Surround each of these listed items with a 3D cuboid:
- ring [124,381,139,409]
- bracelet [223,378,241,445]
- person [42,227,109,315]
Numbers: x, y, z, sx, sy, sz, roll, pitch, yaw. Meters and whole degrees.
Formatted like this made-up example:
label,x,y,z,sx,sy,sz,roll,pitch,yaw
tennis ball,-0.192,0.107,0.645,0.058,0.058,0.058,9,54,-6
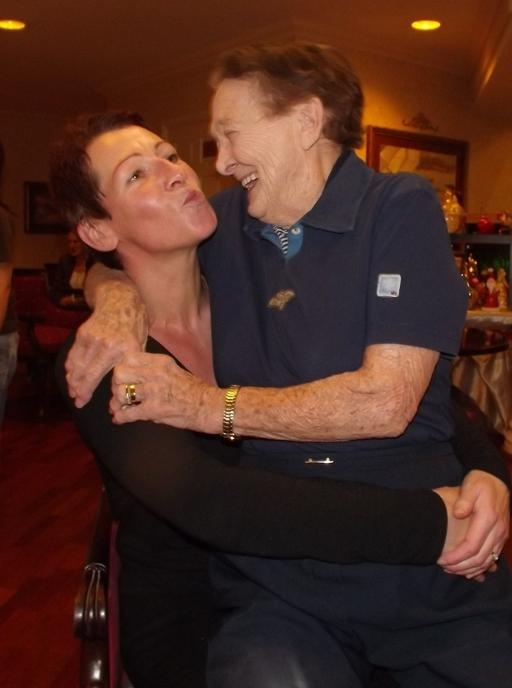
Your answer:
label,x,y,z,sx,sy,sz,roll,pitch,yaw
ring,-0.211,0.085,1.020,0.014,0.033,0.031,-15,7,-33
bracelet,-0.045,0.130,1.101,0.031,0.100,0.050,0,9,-1
person,-1.826,-0.733,6.206,0.610,0.829,0.530,-6,9,-6
